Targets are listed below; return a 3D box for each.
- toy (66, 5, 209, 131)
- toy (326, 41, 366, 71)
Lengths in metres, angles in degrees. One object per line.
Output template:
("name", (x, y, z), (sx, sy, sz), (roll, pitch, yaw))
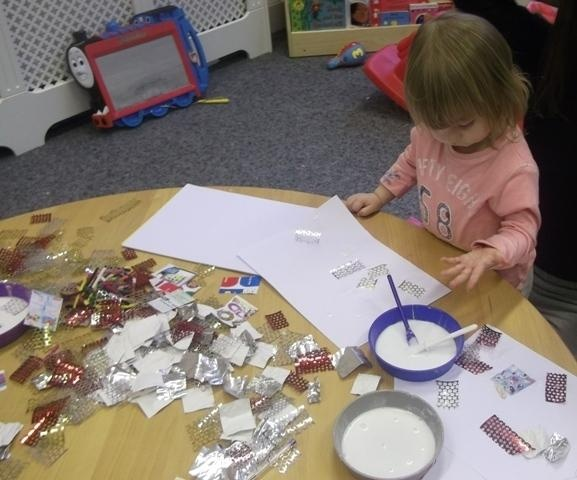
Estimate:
("toy", (-0.753, -0.883, 2.364), (0.670, 0.457, 0.268), (-33, 48, -21))
("toy", (0.324, -1.052, 2.651), (0.210, 0.142, 0.130), (-18, 23, 9))
